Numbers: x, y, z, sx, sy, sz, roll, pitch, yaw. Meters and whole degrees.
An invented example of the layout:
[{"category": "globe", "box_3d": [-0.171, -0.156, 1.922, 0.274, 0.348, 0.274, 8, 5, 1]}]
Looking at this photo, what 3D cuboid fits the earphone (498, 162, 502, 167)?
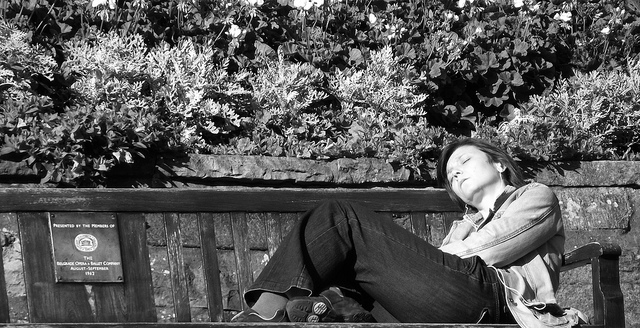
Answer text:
[{"category": "earphone", "box_3d": [1.438, 0.011, 5.308, 0.033, 0.028, 0.007, -4, -7, -7]}]
